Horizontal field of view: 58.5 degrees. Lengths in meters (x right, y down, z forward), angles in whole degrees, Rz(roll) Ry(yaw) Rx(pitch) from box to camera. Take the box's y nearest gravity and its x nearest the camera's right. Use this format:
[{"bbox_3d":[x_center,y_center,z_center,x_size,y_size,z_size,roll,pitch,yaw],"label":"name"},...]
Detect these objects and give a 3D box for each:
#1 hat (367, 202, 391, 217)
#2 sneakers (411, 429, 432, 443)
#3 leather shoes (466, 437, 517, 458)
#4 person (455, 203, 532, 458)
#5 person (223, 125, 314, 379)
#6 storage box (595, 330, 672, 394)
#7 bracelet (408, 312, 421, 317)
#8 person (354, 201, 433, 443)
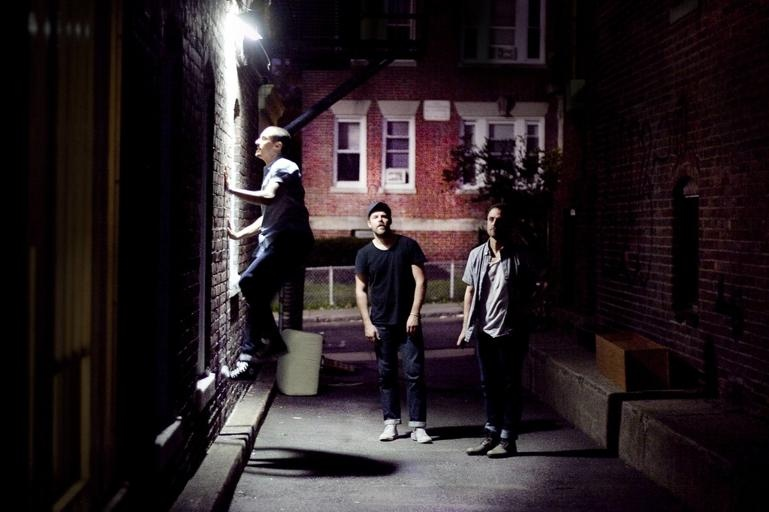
[{"bbox_3d":[-0.059,-0.534,7.646,0.201,0.166,0.348,1,8,-1],"label":"hat"},{"bbox_3d":[0.393,1.976,7.587,0.109,0.110,0.240,0,-6,-31],"label":"sneakers"},{"bbox_3d":[1.159,2.005,7.185,0.323,0.129,0.260,7,-14,-27],"label":"leather shoes"},{"bbox_3d":[1.166,0.773,7.196,0.714,2.617,0.454,1,4,14],"label":"person"},{"bbox_3d":[-1.352,-0.078,7.391,1.061,2.758,1.059,-2,-17,8],"label":"person"},{"bbox_3d":[2.848,1.196,7.877,0.608,0.491,0.823,0,4,-6],"label":"storage box"},{"bbox_3d":[0.321,0.620,7.420,0.100,0.058,0.097,0,4,-1],"label":"bracelet"},{"bbox_3d":[0.090,0.728,7.578,0.831,2.636,0.433,0,3,-1],"label":"person"}]
